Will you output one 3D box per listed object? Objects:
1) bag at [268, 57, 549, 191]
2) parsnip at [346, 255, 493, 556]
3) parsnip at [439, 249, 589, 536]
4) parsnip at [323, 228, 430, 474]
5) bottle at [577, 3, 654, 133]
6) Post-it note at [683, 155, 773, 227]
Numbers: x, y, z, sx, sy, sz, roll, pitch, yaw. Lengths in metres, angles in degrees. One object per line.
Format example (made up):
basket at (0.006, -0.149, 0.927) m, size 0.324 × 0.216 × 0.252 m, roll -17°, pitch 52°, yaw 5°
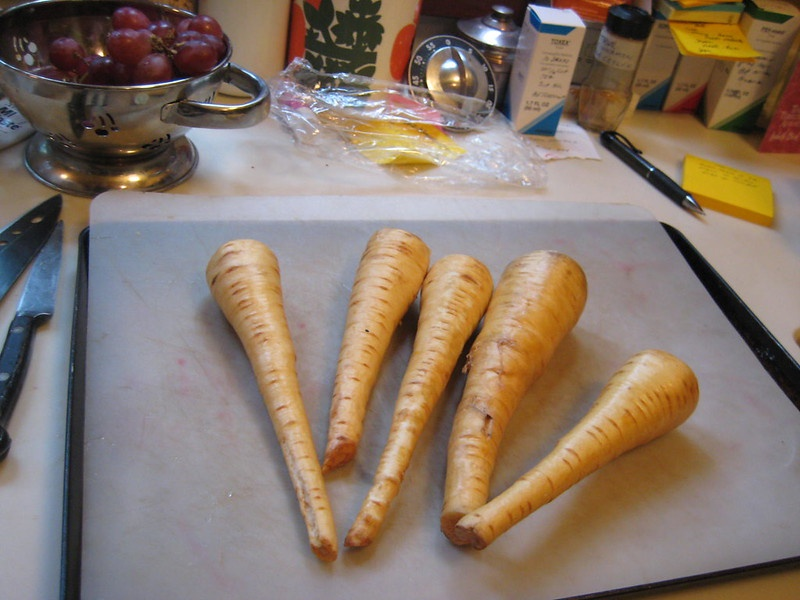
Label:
bag at (0.012, -0.321, 1.353) m, size 0.503 × 0.096 × 0.263 m, roll 21°, pitch 46°, yaw -15°
parsnip at (0.040, 0.113, 0.944) m, size 0.105 × 0.104 × 0.478 m, roll 23°, pitch 55°, yaw 8°
parsnip at (0.138, 0.100, 0.943) m, size 0.121 × 0.129 × 0.444 m, roll 26°, pitch 58°, yaw 3°
parsnip at (-0.039, 0.052, 0.939) m, size 0.110 × 0.100 × 0.388 m, roll 1°, pitch 45°, yaw 16°
bottle at (0.459, -0.499, 1.457) m, size 0.117 × 0.262 × 0.083 m, roll 30°, pitch 47°, yaw 24°
Post-it note at (0.681, -0.229, 1.381) m, size 0.190 × 0.032 × 0.185 m, roll 17°, pitch 43°, yaw 12°
